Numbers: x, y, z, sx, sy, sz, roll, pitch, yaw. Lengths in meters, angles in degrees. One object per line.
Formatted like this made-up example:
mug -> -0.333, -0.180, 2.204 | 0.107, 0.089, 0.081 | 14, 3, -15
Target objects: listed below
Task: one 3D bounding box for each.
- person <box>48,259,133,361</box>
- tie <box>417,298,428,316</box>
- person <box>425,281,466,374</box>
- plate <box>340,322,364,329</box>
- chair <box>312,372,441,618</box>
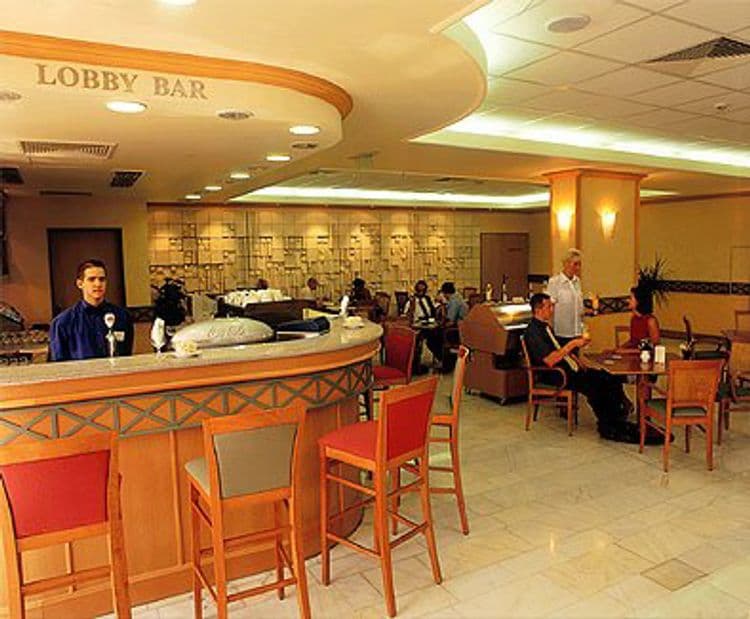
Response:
person -> -2.206, 0.016, 4.403 | 0.594, 0.767, 0.681 | -6, 11, -23
tie -> 0.814, -0.035, 10.093 | 0.062, 0.229, 0.176 | -12, -7, 20
person -> 1.167, 0.283, 9.817 | 0.798, 1.421, 0.630 | 7, 4, 31
plate -> -0.221, 0.138, 5.311 | 0.198, 0.030, 0.217 | -2, 8, -2
chair -> 0.003, 1.102, 4.180 | 0.862, 1.430, 1.457 | -1, 9, 1
